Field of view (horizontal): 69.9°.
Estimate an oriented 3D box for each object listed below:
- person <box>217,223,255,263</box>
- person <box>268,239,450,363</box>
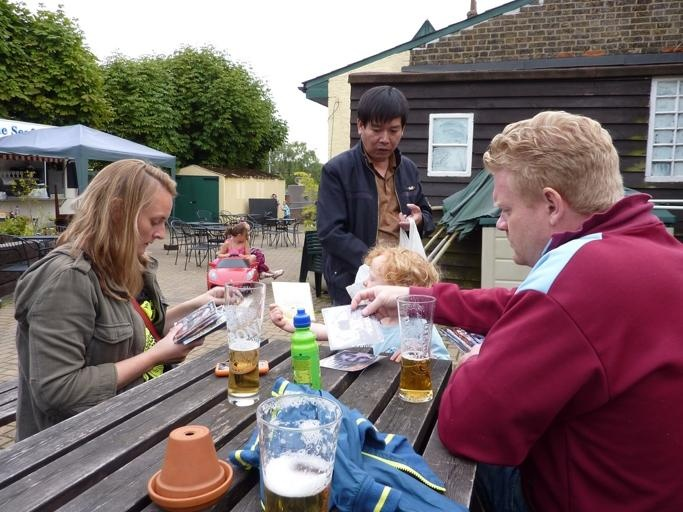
[{"bbox_3d":[-2.152,-0.182,9.883,0.712,0.937,0.704,16,13,41],"label":"person"},{"bbox_3d":[0.133,0.171,2.820,0.831,1.180,0.638,2,5,19],"label":"person"}]
